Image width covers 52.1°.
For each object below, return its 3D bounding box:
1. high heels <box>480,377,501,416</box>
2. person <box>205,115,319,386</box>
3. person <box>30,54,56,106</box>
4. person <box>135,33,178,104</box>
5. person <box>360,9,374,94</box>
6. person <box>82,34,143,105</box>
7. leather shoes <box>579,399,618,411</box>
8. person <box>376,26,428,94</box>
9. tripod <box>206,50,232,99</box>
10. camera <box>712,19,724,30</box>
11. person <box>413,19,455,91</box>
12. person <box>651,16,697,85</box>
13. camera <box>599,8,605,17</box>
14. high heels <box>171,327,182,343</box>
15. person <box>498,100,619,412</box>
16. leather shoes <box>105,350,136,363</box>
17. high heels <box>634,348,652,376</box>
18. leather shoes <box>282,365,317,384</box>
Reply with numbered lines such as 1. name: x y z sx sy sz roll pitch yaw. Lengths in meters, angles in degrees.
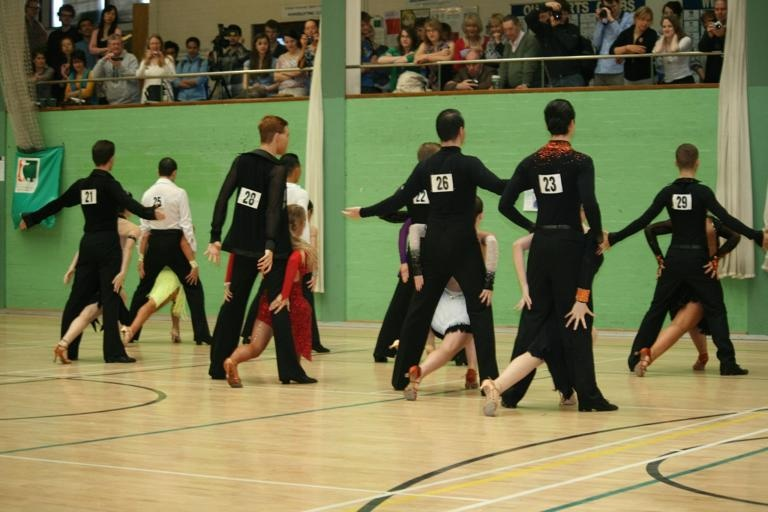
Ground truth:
1. high heels: 0.902 1.155 6.511 0.170 0.133 0.345 1 22 1
2. person: -1.258 0.001 7.767 1.000 2.720 0.624 -3 9 -7
3. person: -6.888 -3.574 15.789 0.410 1.094 0.388 -6 10 -23
4. person: -4.308 -3.557 14.812 0.928 1.266 0.424 2 10 21
5. person: -0.298 -3.587 13.780 0.240 1.440 0.552 -2 9 -1
6. person: -5.192 -3.638 15.190 1.087 1.360 0.520 2 10 20
7. leather shoes: 1.784 1.246 6.594 0.357 0.136 0.123 -1 -1 -3
8. person: 0.288 -3.193 13.593 0.757 1.433 0.520 1 25 3
9. tripod: -3.022 -3.198 14.535 0.346 0.461 0.314 13 35 20
10. camera: 5.193 -3.602 12.127 0.145 0.134 0.114 4 11 32
11. person: 0.909 -3.264 13.330 0.597 1.397 0.776 8 20 33
12. person: 4.545 -3.241 12.246 0.632 1.050 0.369 2 10 19
13. camera: 3.558 -3.990 12.759 0.131 0.125 0.129 2 14 21
14. high heels: -3.055 1.188 11.561 0.106 0.147 0.294 1 7 -5
15. person: 1.505 0.011 6.574 0.911 2.629 0.501 1 10 15
16. leather shoes: -3.153 1.215 9.389 0.378 0.231 0.138 0 -1 -10
17. high heels: 2.786 1.141 8.399 0.123 0.320 0.129 28 -7 1
18. leather shoes: -0.885 1.225 7.965 0.452 0.175 0.144 -1 1 -29
